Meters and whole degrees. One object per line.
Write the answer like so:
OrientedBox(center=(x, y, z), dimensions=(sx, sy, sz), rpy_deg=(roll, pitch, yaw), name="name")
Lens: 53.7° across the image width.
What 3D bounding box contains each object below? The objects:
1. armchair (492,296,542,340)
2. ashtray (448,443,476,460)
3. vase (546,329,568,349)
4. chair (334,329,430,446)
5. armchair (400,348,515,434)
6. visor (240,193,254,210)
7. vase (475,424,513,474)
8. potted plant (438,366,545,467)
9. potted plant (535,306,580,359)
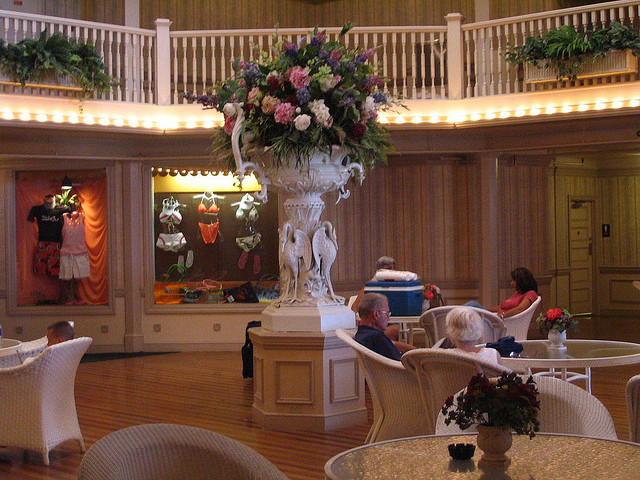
OrientedBox(center=(2.050, 0.845, 6.623), dimensions=(0.374, 0.443, 0.361), rpy_deg=(1, -3, -1), name="armchair")
OrientedBox(center=(0.560, 0.829, 2.498), dimensions=(0.063, 0.033, 0.067), rpy_deg=(-1, -1, -13), name="ashtray")
OrientedBox(center=(1.821, 0.757, 4.866), dimensions=(0.140, 0.165, 0.154), rpy_deg=(-4, -5, 33), name="vase")
OrientedBox(center=(0.547, 1.080, 4.350), dimensions=(0.598, 0.764, 0.643), rpy_deg=(-14, -16, 21), name="chair")
OrientedBox(center=(0.791, 0.747, 3.739), dimensions=(0.507, 0.618, 0.496), rpy_deg=(1, -1, 31), name="armchair")
OrientedBox(center=(-1.115, -0.569, 9.602), dimensions=(0.208, 0.240, 0.069), rpy_deg=(-1, 1, -10), name="visor")
OrientedBox(center=(0.653, 0.793, 2.446), dimensions=(0.144, 0.191, 0.158), rpy_deg=(-2, -1, 7), name="vase")
OrientedBox(center=(0.679, 0.736, 2.577), dimensions=(0.369, 0.388, 0.384), rpy_deg=(-5, -14, 18), name="potted plant")
OrientedBox(center=(1.822, 0.711, 4.921), dimensions=(0.304, 0.337, 0.271), rpy_deg=(-10, -16, 38), name="potted plant")
